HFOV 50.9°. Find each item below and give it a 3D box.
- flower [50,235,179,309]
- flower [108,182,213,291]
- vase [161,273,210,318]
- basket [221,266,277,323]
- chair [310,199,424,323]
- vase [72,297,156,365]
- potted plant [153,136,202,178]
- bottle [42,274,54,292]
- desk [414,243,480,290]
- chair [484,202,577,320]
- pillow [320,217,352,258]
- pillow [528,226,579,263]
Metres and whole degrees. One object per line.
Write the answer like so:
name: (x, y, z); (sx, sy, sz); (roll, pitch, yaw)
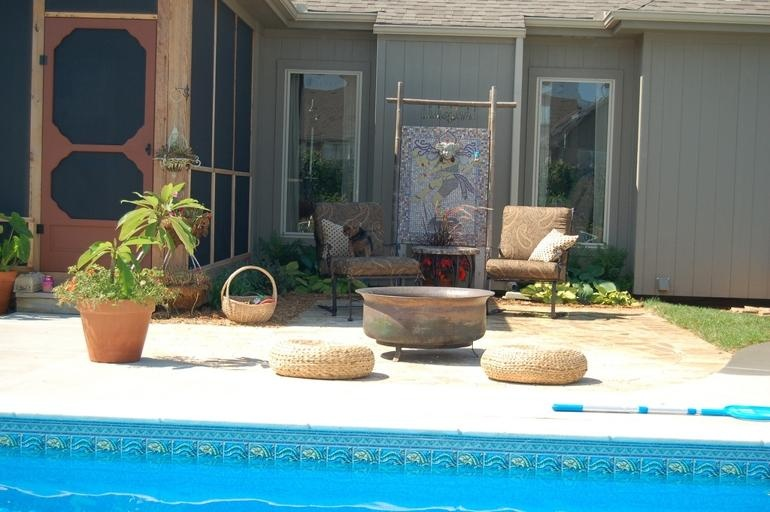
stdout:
flower: (-2.268, 0.188, 6.927); (0.910, 0.654, 0.926); (-7, 15, -42)
flower: (-2.055, -0.278, 7.208); (0.830, 0.590, 0.809); (8, 19, 22)
vase: (-2.133, 0.407, 8.823); (0.457, 0.413, 0.409); (-1, -1, 30)
basket: (-1.430, 0.401, 8.609); (0.580, 0.594, 0.417); (1, 5, -26)
chair: (-0.265, 0.021, 9.780); (1.027, 1.394, 1.399); (0, 1, -23)
vase: (-2.249, 0.614, 6.708); (0.521, 0.419, 0.538); (1, -5, -4)
potted plant: (-2.247, -1.063, 8.745); (0.442, 0.473, 0.454); (-1, 2, -10)
bottle: (-3.553, 0.292, 8.640); (0.122, 0.176, 0.170); (2, -3, -6)
desk: (0.766, 0.140, 10.314); (0.852, 0.549, 0.647); (2, 8, -3)
chair: (1.784, 0.055, 10.013); (1.275, 1.337, 1.327); (1, 2, -31)
pillow: (-0.596, -0.216, 9.775); (0.121, 0.415, 0.405); (-17, -15, 39)
pillow: (2.029, -0.115, 9.849); (0.532, 0.379, 0.567); (3, 8, 10)
